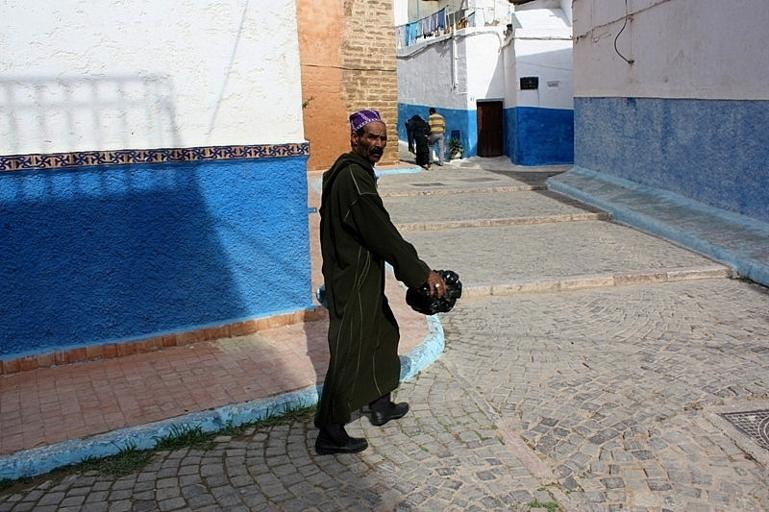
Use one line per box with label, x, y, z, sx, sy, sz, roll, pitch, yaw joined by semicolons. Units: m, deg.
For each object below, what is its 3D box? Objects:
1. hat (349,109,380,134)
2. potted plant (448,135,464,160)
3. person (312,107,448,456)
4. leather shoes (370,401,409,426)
hat;-0.104;-1.017;4.045;0.247;0.104;0.220;-19;20;-14
potted plant;2.845;-4.207;21.474;0.562;0.795;0.824;3;18;16
person;-0.195;0.163;4.009;0.973;2.354;0.939;-8;20;-14
leather shoes;0.039;1.206;4.313;0.383;0.117;0.133;-7;10;-36
